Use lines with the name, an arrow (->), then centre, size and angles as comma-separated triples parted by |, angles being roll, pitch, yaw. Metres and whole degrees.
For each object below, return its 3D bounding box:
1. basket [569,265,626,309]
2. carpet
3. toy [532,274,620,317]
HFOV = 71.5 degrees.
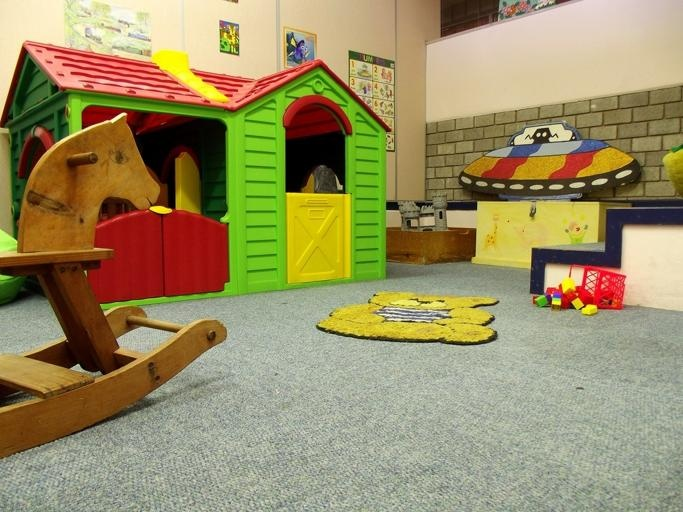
basket -> 1.916, 0.177, 3.601 | 0.466, 0.317, 0.279 | 10, 37, 36
carpet -> 0.481, 0.404, 3.233 | 1.094, 0.042, 1.313 | 2, 7, 16
toy -> 1.763, 0.281, 3.536 | 0.500, 0.163, 0.350 | -3, 6, -13
